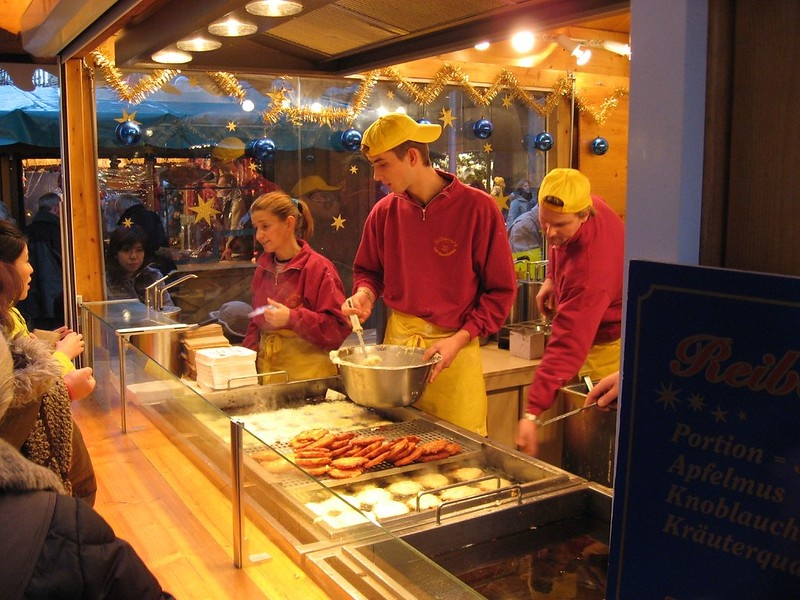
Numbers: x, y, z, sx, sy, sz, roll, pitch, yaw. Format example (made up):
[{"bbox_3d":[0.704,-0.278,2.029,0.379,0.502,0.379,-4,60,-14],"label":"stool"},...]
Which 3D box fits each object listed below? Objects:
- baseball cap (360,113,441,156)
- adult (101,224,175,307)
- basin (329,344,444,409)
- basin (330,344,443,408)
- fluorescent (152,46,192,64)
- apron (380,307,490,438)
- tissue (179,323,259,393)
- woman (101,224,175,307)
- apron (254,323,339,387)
[{"bbox_3d":[0.012,-0.640,2.476,0.280,0.102,0.170,-17,30,-7],"label":"baseball cap"},{"bbox_3d":[-2.012,-0.238,4.764,0.640,0.576,0.347,-7,6,-35],"label":"adult"},{"bbox_3d":[-0.042,0.270,2.290,0.303,0.126,0.289,1,1,0],"label":"basin"},{"bbox_3d":[0.019,0.267,2.260,0.371,0.153,0.332,-5,9,-33],"label":"basin"},{"bbox_3d":[-1.059,-1.155,2.997,0.136,0.026,0.135,-1,2,-35],"label":"fluorescent"},{"bbox_3d":[0.134,0.278,2.462,0.441,0.549,0.229,11,47,28],"label":"apron"},{"bbox_3d":[-0.738,0.235,2.684,0.246,0.103,0.330,11,13,41],"label":"tissue"},{"bbox_3d":[-1.914,-0.242,4.622,0.593,0.528,0.319,-7,9,-41],"label":"woman"},{"bbox_3d":[-0.499,0.262,3.211,0.457,0.387,0.242,-3,5,-3],"label":"apron"}]
